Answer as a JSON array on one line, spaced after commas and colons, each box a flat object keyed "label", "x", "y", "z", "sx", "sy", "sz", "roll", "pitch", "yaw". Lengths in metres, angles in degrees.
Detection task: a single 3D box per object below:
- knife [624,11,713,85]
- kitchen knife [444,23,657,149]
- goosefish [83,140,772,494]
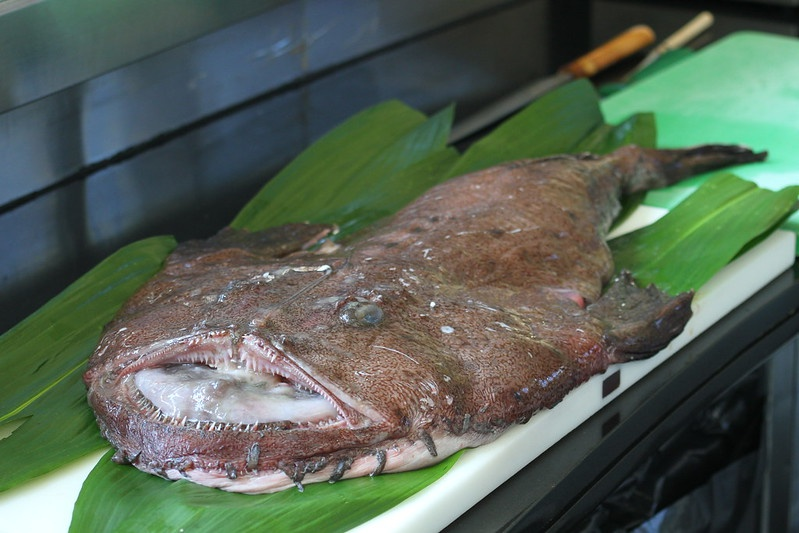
[{"label": "knife", "x": 0.781, "y": -0.624, "z": 2.369, "sx": 0.435, "sy": 0.058, "sz": 0.077, "roll": -33, "pitch": 43, "yaw": -26}, {"label": "kitchen knife", "x": 0.419, "y": -0.509, "z": 2.238, "sx": 0.830, "sy": 0.065, "sz": 0.079, "roll": -28, "pitch": 45, "yaw": -28}, {"label": "goosefish", "x": 0.034, "y": 0.035, "z": 1.536, "sx": 1.227, "sy": 0.201, "sz": 0.664, "roll": -18, "pitch": 40, "yaw": -17}]
